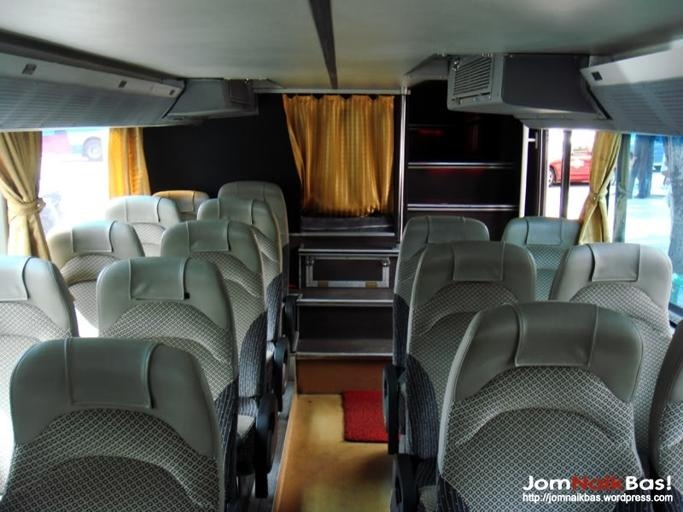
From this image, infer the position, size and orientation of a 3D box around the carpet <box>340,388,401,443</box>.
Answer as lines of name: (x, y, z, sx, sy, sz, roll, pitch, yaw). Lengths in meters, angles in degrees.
carpet: (0.182, 1.190, 3.938, 0.335, 0.031, 0.496, -4, 37, -10)
